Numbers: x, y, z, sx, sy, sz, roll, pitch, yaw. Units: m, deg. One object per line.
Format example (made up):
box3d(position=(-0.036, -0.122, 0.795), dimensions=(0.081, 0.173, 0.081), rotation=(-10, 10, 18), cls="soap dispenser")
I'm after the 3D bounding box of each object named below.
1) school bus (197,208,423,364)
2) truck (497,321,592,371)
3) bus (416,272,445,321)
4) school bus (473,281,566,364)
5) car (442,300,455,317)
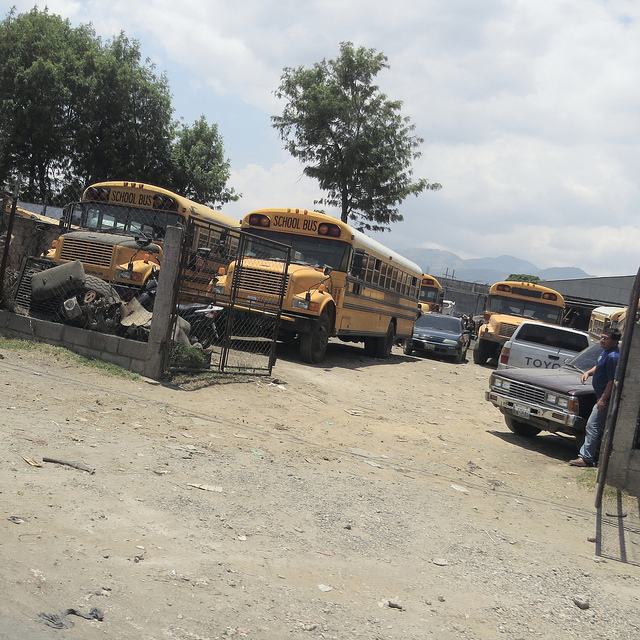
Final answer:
box3d(position=(0.287, -0.795, 16.474), dimensions=(2.631, 2.946, 8.339), rotation=(13, 3, 22), cls="school bus")
box3d(position=(4.816, 0.617, 13.675), dimensions=(2.280, 0.913, 1.301), rotation=(-3, 5, -25), cls="truck")
box3d(position=(5.558, -1.275, 32.527), dimensions=(1.605, 1.652, 3.448), rotation=(0, -1, 15), cls="bus")
box3d(position=(6.863, -0.062, 22.724), dimensions=(2.252, 2.538, 7.658), rotation=(8, 3, 24), cls="school bus")
box3d(position=(8.323, -0.680, 41.749), dimensions=(1.100, 0.817, 1.607), rotation=(3, 15, 15), cls="car")
